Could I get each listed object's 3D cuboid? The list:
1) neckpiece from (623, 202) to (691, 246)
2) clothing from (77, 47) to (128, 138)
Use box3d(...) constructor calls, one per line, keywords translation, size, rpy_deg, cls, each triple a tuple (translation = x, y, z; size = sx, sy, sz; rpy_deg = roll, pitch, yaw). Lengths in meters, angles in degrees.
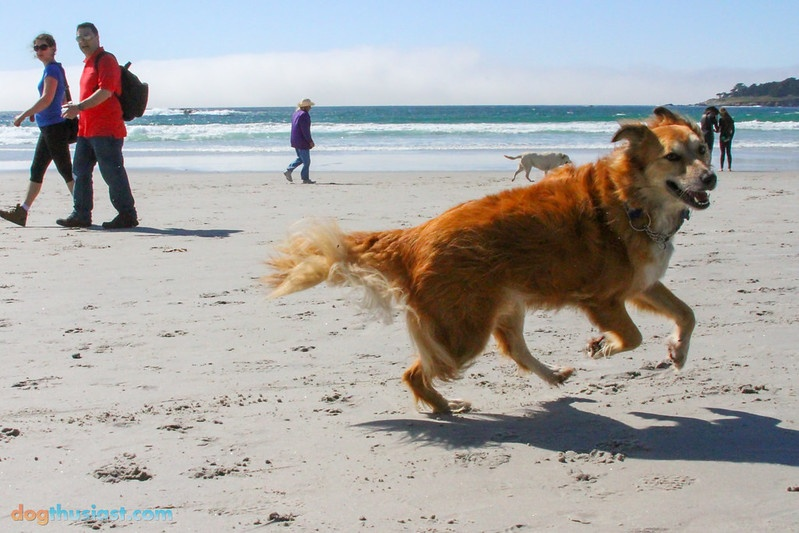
box3d(translation=(1.849, -0.355, 5.947), size=(0.352, 0.138, 0.359), rpy_deg=(10, 35, 7), cls="neckpiece")
box3d(translation=(-3.749, -2.180, 10.093), size=(0.562, 1.129, 0.431), rpy_deg=(-4, 15, -17), cls="clothing")
